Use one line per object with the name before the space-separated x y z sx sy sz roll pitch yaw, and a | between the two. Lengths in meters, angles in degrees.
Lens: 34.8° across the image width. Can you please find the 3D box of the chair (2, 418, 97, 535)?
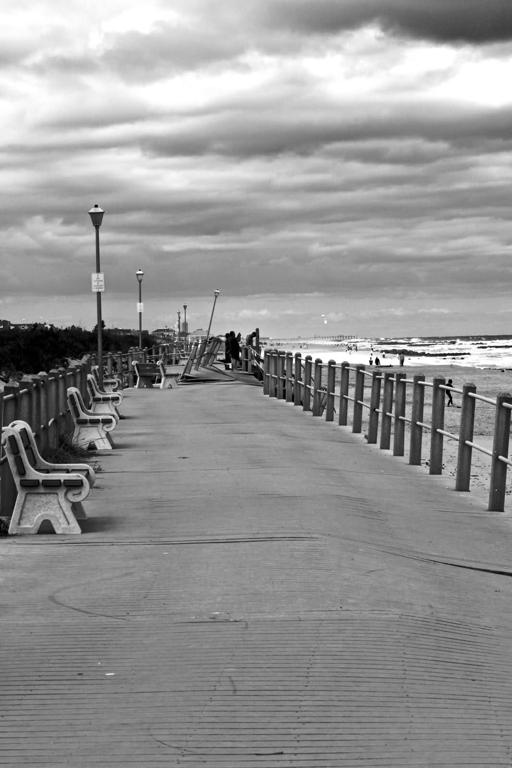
chair | -1.822 0.919 7.340 0.763 1.117 1.134 -1 1 -5

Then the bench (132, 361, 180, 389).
bench | -4.245 -0.381 33.992 0.588 0.767 1.442 14 8 34

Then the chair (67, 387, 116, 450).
chair | -2.707 0.713 13.245 0.731 1.039 1.327 0 2 -3
